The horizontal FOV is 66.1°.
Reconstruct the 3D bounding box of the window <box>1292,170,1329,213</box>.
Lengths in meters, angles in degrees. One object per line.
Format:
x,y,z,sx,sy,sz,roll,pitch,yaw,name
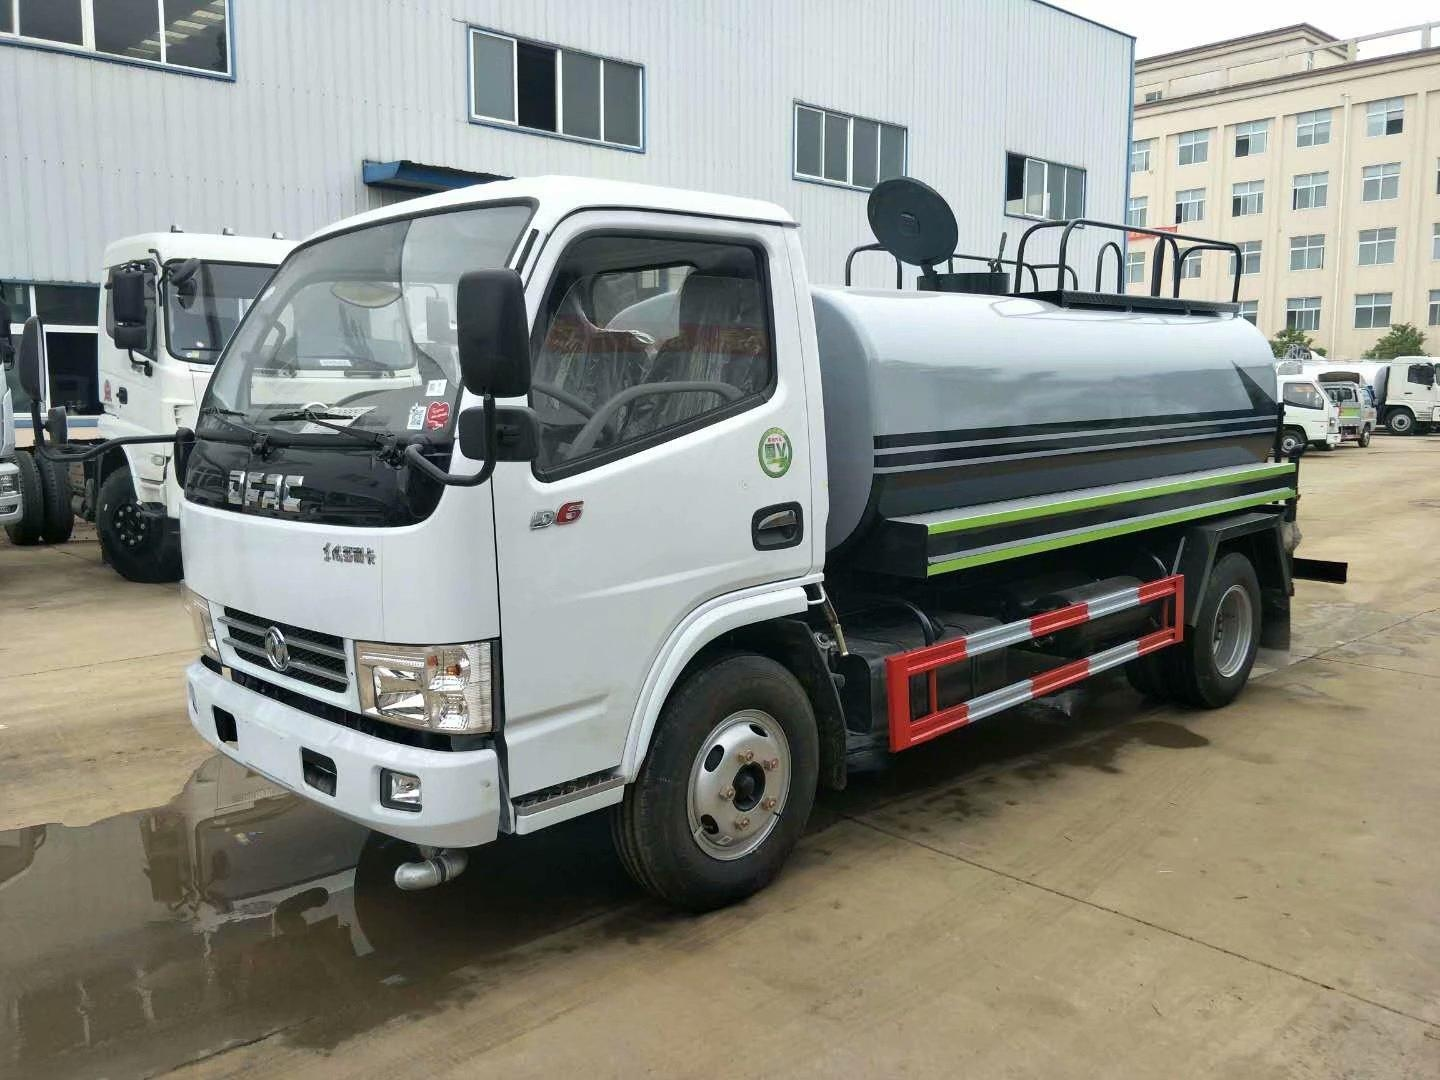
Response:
29.008,-17.082,53.959,0.151,2.301,2.110,-6,5,-25,window

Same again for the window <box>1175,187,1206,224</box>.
24.814,-17.677,57.994,0.096,2.319,2.057,-3,4,-18,window

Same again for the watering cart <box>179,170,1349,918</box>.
0.558,0.067,6.877,6.896,3.353,2.892,-4,5,-42,watering cart

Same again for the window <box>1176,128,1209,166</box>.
24.846,-20.582,57.734,0.107,2.338,2.056,-5,5,-26,window

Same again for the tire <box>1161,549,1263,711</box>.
3.186,0.586,7.198,0.813,0.903,0.288,-12,16,-35,tire

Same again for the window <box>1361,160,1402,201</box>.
31.157,-16.869,51.774,0.151,2.219,1.953,-6,6,-25,window

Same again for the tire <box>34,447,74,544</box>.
-6.842,-0.477,11.322,0.303,0.957,0.872,-5,7,-34,tire

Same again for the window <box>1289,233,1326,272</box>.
28.990,-14.170,54.233,0.221,2.206,1.887,-8,7,-30,window

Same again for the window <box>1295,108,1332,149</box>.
29.043,-20.111,53.794,0.167,2.254,1.993,-9,8,-28,window

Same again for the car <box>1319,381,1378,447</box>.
16.427,-3.355,29.256,1.341,1.406,2.657,2,9,43,car

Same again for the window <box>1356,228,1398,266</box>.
31.129,-13.847,52.056,0.116,1.975,1.760,-9,10,-25,window

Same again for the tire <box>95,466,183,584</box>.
-5.370,-0.148,10.252,0.790,0.858,0.292,26,12,21,tire

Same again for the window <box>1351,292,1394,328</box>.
31.250,-11.044,52.609,0.150,2.398,2.090,-12,12,-29,window

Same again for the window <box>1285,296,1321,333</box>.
28.932,-11.194,54.547,0.179,2.506,2.303,-13,15,-30,window

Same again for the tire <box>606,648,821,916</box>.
-0.044,1.002,4.650,0.426,1.120,0.975,-3,5,45,tire

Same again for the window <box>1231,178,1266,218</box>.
26.876,-17.347,55.891,0.151,2.356,2.179,-2,2,-21,window

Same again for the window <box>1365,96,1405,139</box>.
31.232,-19.798,51.610,0.288,2.188,1.932,-11,12,-33,window

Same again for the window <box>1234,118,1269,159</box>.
26.862,-20.229,55.550,0.161,2.292,2.115,-7,7,-24,window
